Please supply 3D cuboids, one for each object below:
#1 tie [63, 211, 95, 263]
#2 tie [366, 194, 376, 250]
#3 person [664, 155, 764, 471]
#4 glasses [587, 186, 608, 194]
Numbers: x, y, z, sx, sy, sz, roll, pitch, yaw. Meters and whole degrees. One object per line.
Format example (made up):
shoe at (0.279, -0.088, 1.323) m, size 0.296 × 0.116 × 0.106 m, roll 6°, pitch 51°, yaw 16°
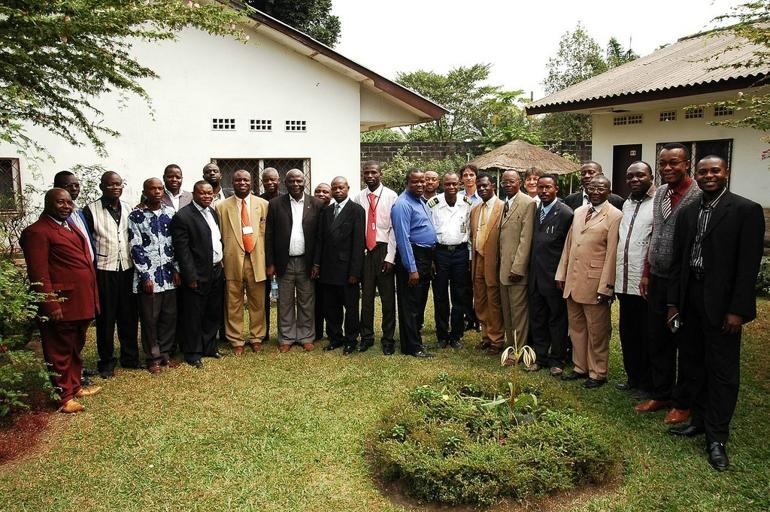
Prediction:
tie at (-3.455, -0.198, 5.970) m, size 0.164 × 0.197 × 0.721 m, roll -19°, pitch 53°, yaw -7°
tie at (-0.175, -0.485, 7.327) m, size 0.173 × 0.779 × 0.055 m, roll 6°, pitch 11°, yaw 26°
person at (3.084, 0.463, 5.085) m, size 0.798 × 2.804 × 0.744 m, roll -9°, pitch 11°, yaw -38°
glasses at (2.479, -0.766, 6.190) m, size 0.213 × 0.073 × 0.095 m, roll 2°, pitch 9°, yaw 22°
